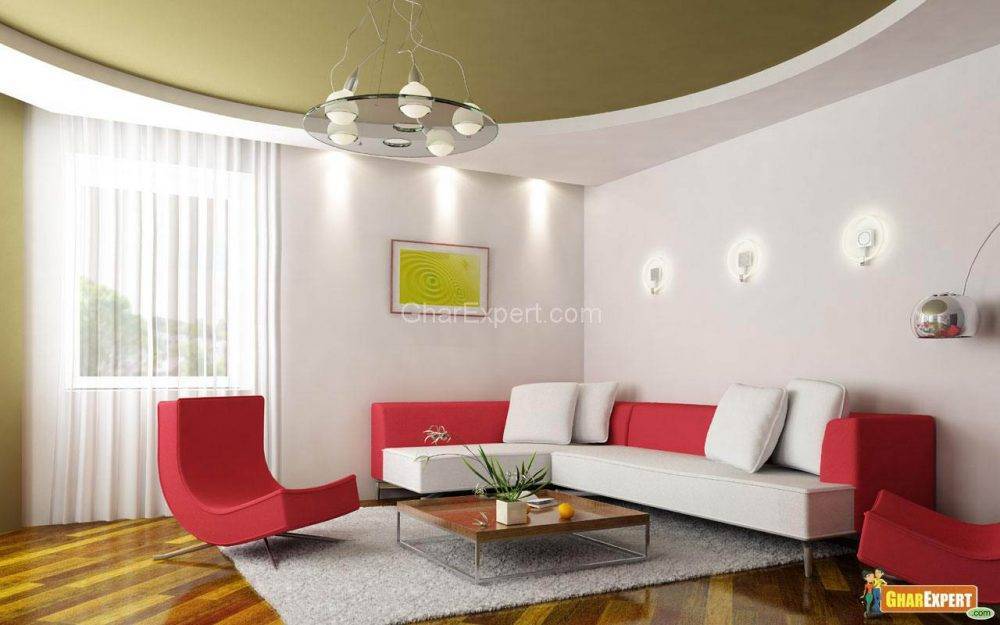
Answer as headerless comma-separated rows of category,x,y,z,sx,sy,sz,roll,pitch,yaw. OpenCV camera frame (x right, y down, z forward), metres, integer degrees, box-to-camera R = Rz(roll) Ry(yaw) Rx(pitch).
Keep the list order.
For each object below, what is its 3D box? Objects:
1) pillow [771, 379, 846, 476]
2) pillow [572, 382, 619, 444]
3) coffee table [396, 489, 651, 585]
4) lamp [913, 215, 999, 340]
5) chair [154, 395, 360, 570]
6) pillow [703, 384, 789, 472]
pillow,2.448,0.872,5.136,0.242,0.620,0.640,10,-11,-25
pillow,0.979,1.011,6.686,0.631,0.559,0.191,-1,-20,36
coffee table,0.265,1.568,4.710,0.889,0.241,0.950,-1,0,-25
lamp,3.366,-0.235,4.792,0.508,0.859,0.316,-1,3,-23
chair,-1.869,1.249,5.033,1.299,1.115,1.005,1,-2,27
pillow,2.046,0.927,5.344,0.274,0.617,0.629,28,-13,-21
